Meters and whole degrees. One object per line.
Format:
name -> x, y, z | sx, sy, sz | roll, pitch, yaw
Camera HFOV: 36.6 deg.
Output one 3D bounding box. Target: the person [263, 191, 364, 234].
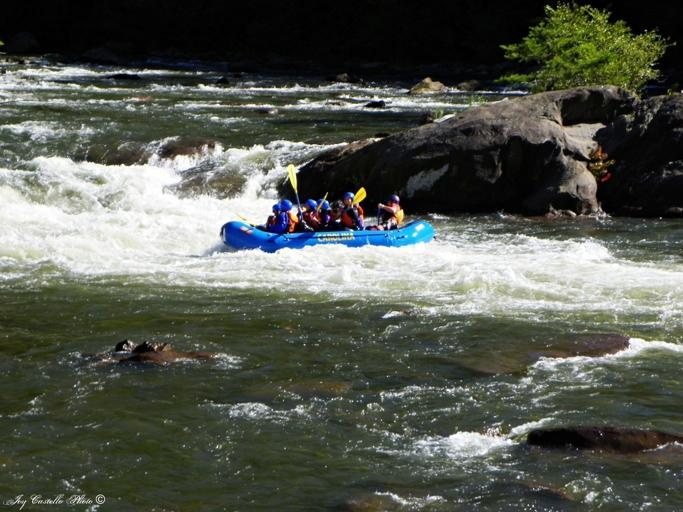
person -> -0.636, -0.879, 21.554 | 2.009, 0.509, 0.936 | -1, 3, -14
